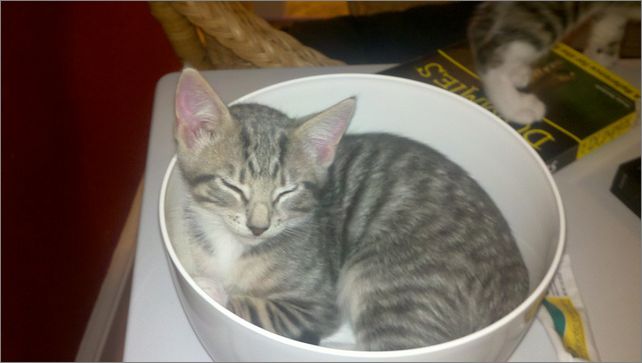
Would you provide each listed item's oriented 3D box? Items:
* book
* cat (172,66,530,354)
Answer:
[{"bbox_3d":[0.577,-0.187,1.619,0.449,0.096,0.418,-33,61,-29],"label":"book"},{"bbox_3d":[0.069,0.114,1.353,0.723,0.462,0.512,2,64,-10],"label":"cat"}]
